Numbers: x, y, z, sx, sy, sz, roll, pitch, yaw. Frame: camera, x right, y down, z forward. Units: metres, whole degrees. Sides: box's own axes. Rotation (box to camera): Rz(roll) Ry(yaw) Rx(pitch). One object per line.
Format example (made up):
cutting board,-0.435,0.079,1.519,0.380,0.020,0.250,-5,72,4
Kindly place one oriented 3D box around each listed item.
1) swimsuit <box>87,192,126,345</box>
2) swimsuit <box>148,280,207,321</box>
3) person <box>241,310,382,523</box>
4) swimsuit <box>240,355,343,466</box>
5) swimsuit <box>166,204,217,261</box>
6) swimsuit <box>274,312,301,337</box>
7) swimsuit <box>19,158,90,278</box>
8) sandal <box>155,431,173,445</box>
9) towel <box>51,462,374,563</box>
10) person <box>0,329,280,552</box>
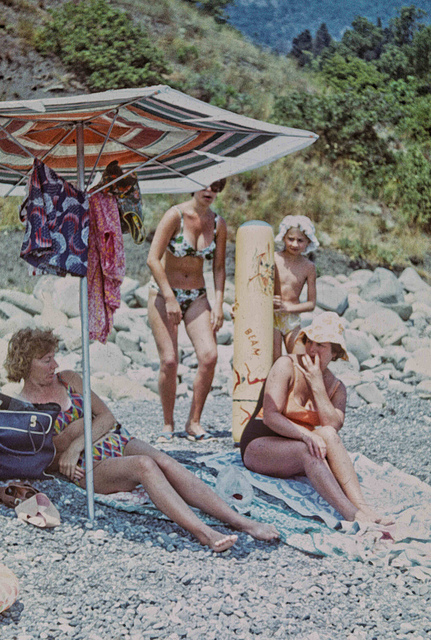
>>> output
swimsuit,-0.571,-0.263,4.223,0.204,0.751,0.186,2,13,-24
swimsuit,-0.224,-0.153,5.549,0.263,0.237,0.314,4,-16,-12
person,0.573,0.485,4.532,0.545,0.996,1.105,4,7,-23
swimsuit,0.419,0.536,4.662,0.508,0.663,0.370,8,12,3
swimsuit,-0.168,-0.594,5.674,0.342,0.312,0.213,14,7,-44
swimsuit,0.524,0.025,6.184,0.175,0.204,0.115,-5,14,-28
swimsuit,-0.732,-0.470,3.864,0.343,0.525,0.202,1,14,-27
sandal,-0.339,0.795,5.653,0.118,0.085,0.125,6,11,-2
towel,-0.151,1.002,4.454,1.892,0.155,0.543,12,8,26
person,-0.398,0.691,4.738,1.408,0.590,0.440,21,44,20
